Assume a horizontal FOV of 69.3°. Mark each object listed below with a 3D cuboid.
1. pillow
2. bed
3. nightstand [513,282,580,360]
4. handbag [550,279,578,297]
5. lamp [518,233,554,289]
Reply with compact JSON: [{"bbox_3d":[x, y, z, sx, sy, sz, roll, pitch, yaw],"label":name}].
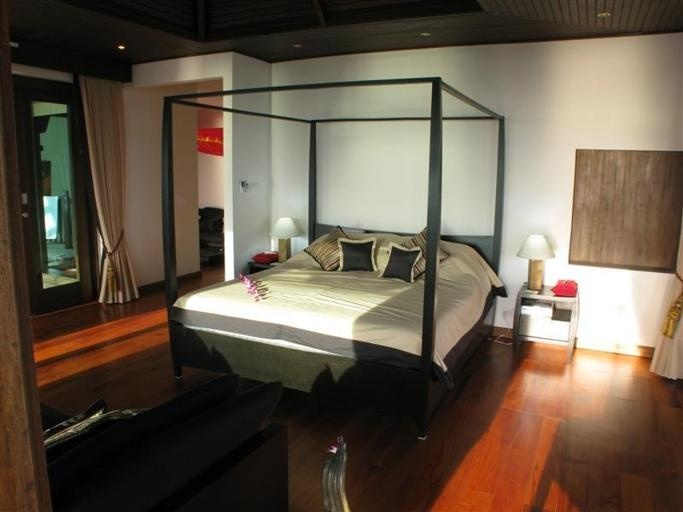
[{"bbox_3d":[0.300,-0.061,5.415,1.053,0.352,0.719,7,21,23],"label":"pillow"},{"bbox_3d":[0.083,0.324,4.708,2.305,1.053,2.442,7,14,24],"label":"bed"},{"bbox_3d":[2.088,0.626,5.138,0.614,0.691,0.677,4,8,25],"label":"nightstand"},{"bbox_3d":[2.195,0.324,4.892,0.220,0.116,0.244,5,14,18],"label":"handbag"},{"bbox_3d":[1.998,0.051,5.080,0.331,0.552,0.449,8,15,31],"label":"lamp"}]
